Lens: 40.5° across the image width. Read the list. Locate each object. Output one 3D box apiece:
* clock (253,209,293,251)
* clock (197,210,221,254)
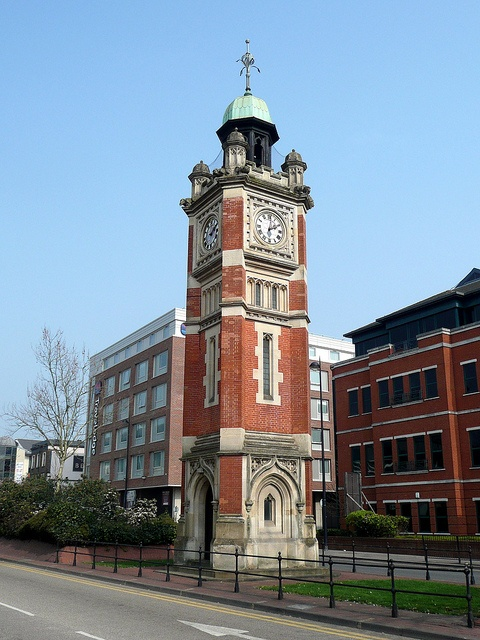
[{"bbox_3d":[1.257,-3.707,26.377,1.896,0.126,1.962,17,-53,28],"label":"clock"},{"bbox_3d":[-1.214,-3.577,26.744,0.132,2.060,1.733,6,-11,-27],"label":"clock"}]
